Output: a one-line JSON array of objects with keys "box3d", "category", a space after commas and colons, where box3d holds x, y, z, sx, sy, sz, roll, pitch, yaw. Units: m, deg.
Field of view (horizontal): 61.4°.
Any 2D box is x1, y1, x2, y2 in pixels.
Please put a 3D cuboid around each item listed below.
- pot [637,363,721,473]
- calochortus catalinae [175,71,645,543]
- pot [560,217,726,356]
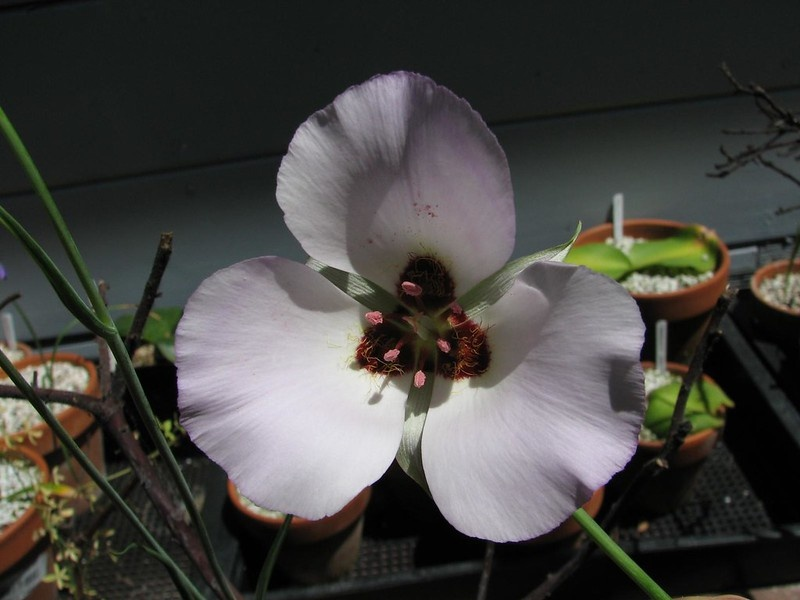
[{"box3d": [0.487, 0.196, 1.178, 0.130, 0.145, 0.191, -12, 3, 24], "category": "pot"}, {"box3d": [0.031, 0.031, 0.729, 0.531, 0.494, 0.144, 16, -17, 36], "category": "calochortus catalinae"}, {"box3d": [0.426, -0.026, 1.206, 0.248, 0.206, 0.261, -16, 33, 11], "category": "pot"}]
